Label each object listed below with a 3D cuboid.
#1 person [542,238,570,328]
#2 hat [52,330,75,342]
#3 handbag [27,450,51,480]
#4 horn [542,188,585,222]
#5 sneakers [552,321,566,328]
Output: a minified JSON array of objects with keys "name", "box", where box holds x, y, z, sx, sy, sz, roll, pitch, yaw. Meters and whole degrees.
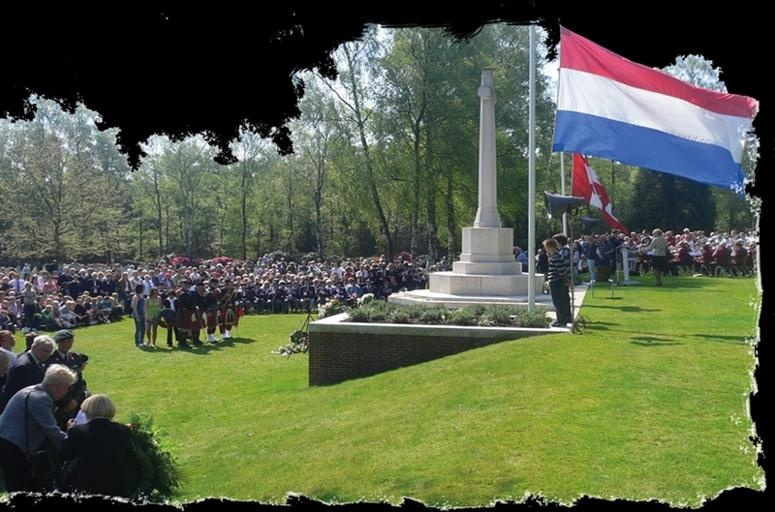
[{"name":"person","box":[4.212,0.651,18.856,0.717,2.162,0.645,3,-2,11]},{"name":"hat","box":[-6.214,1.523,14.580,0.415,0.179,0.485,1,5,21]},{"name":"handbag","box":[-5.593,3.332,12.133,0.332,0.442,0.111,-5,-9,-17]},{"name":"horn","box":[4.454,-1.323,19.637,0.983,0.633,0.626,-7,25,-26]},{"name":"sneakers","box":[4.235,1.691,18.848,0.413,0.178,0.143,-5,2,32]}]
